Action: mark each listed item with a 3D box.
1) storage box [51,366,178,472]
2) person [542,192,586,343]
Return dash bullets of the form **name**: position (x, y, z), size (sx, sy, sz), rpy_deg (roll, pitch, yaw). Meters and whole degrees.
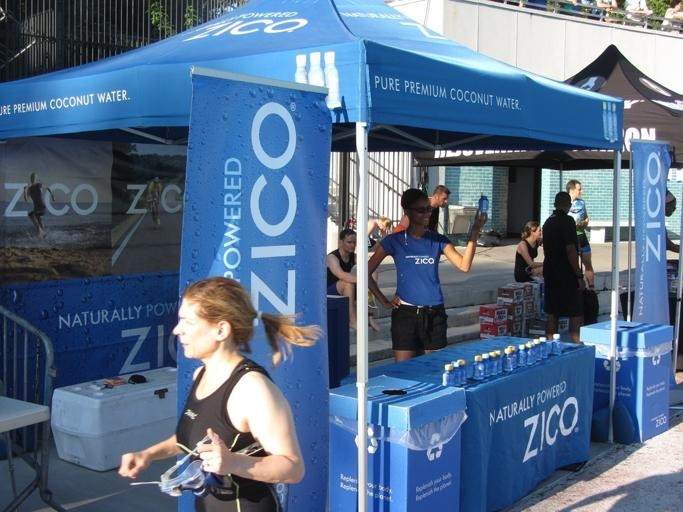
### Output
- **storage box**: position (-2.118, 1.217, 6.673), size (0.672, 0.687, 1.185), rpy_deg (6, 9, 34)
- **person**: position (2.760, 0.170, 9.079), size (0.487, 1.916, 0.632), rpy_deg (0, 2, 16)
